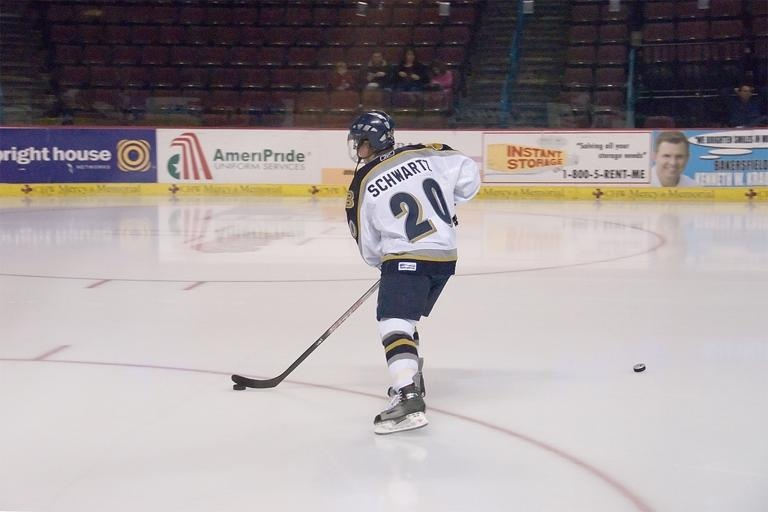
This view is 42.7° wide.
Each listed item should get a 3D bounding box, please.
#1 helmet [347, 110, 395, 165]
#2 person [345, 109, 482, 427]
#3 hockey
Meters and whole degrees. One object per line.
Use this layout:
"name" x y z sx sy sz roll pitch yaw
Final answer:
"helmet" -0.133 -0.864 7.094 0.462 0.373 0.344 10 22 32
"person" 0.216 0.201 6.875 0.902 1.966 0.723 -1 7 -4
"hockey" -0.628 0.656 8.005 0.318 1.124 0.086 50 -9 39
